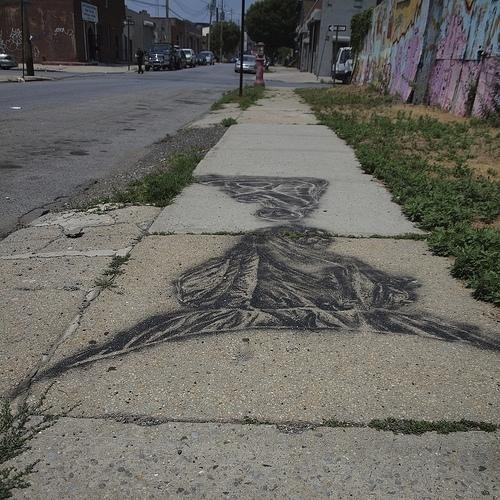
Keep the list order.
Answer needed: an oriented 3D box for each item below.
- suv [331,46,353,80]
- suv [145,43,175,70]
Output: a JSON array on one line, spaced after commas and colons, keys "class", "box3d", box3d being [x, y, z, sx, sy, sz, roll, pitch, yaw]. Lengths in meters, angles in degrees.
[{"class": "suv", "box3d": [5.684, -11.522, 28.732, 1.044, 2.094, 4.234, 6, 23, 7]}, {"class": "suv", "box3d": [-8.116, -17.859, 42.916, 2.230, 2.359, 2.893, 12, 24, 19]}]
